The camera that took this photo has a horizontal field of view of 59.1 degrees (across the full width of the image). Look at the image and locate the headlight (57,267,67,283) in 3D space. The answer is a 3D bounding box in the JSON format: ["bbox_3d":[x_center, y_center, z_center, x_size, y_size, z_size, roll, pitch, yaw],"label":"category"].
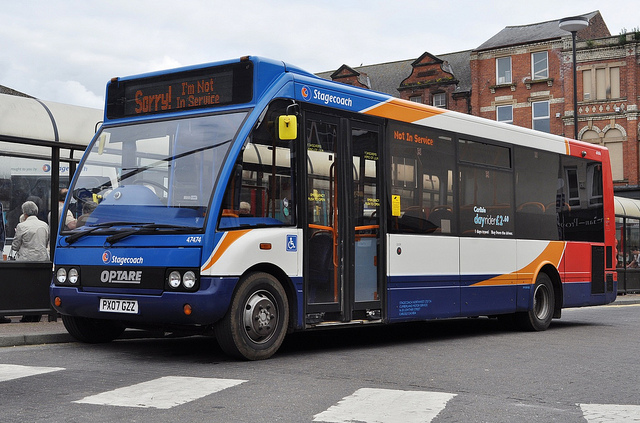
[{"bbox_3d":[-3.982,0.969,8.734,0.216,0.273,0.048,-1,1,42],"label":"headlight"}]

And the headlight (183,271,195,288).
[{"bbox_3d":[-1.798,0.924,7.801,0.207,0.234,0.085,-1,-4,35],"label":"headlight"}]

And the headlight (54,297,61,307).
[{"bbox_3d":[-4.095,1.391,8.827,0.057,0.135,0.164,4,-5,-43],"label":"headlight"}]

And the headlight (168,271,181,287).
[{"bbox_3d":[-2.013,0.928,7.865,0.175,0.229,0.106,-4,-5,-3],"label":"headlight"}]

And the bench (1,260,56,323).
[{"bbox_3d":[-5.828,1.517,11.288,1.299,1.240,0.125,4,-11,-39],"label":"bench"}]
